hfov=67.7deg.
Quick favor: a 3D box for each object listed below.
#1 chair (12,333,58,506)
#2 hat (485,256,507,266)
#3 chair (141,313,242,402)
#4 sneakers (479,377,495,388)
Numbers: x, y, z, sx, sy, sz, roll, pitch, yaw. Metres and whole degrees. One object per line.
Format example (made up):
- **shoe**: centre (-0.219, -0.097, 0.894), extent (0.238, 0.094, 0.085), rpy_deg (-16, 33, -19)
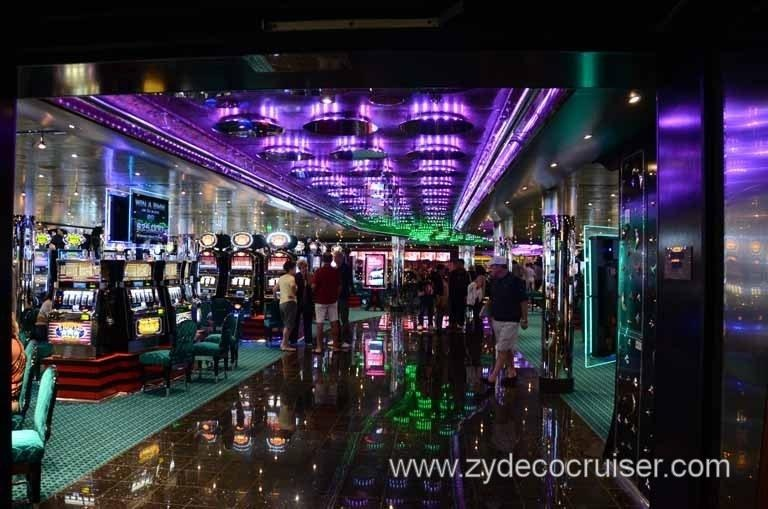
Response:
- **chair**: centre (-3.066, 1.561, 5.042), extent (0.347, 1.130, 0.472), rpy_deg (-3, 6, -30)
- **hat**: centre (1.584, 0.069, 8.106), extent (0.262, 0.129, 0.183), rpy_deg (9, -3, 14)
- **chair**: centre (-2.836, 1.412, 8.554), extent (0.807, 1.090, 1.531), rpy_deg (2, 5, 20)
- **sneakers**: centre (1.501, 1.853, 8.322), extent (0.091, 0.114, 0.266), rpy_deg (3, 4, -31)
